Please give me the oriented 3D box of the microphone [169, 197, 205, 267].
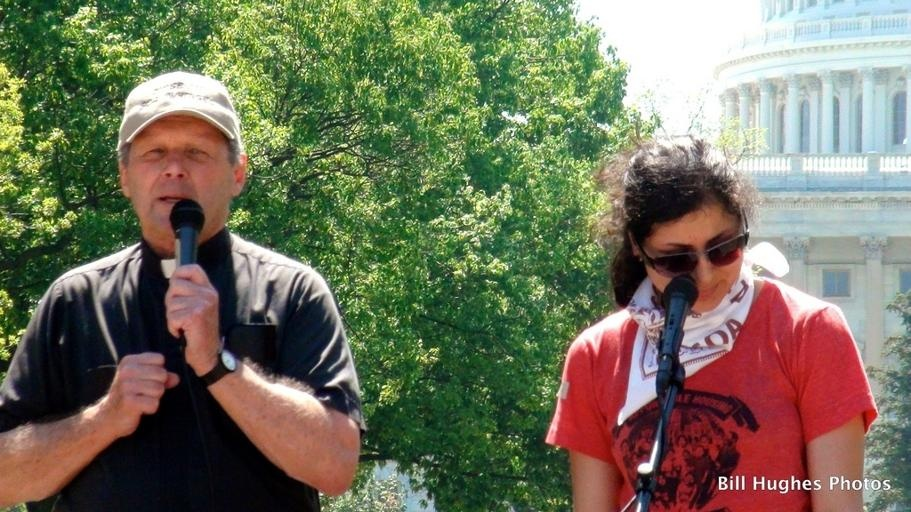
[{"bbox_3d":[-2.226,-0.203,9.442,0.278,0.573,0.273,0,-3,-13],"label":"microphone"}]
